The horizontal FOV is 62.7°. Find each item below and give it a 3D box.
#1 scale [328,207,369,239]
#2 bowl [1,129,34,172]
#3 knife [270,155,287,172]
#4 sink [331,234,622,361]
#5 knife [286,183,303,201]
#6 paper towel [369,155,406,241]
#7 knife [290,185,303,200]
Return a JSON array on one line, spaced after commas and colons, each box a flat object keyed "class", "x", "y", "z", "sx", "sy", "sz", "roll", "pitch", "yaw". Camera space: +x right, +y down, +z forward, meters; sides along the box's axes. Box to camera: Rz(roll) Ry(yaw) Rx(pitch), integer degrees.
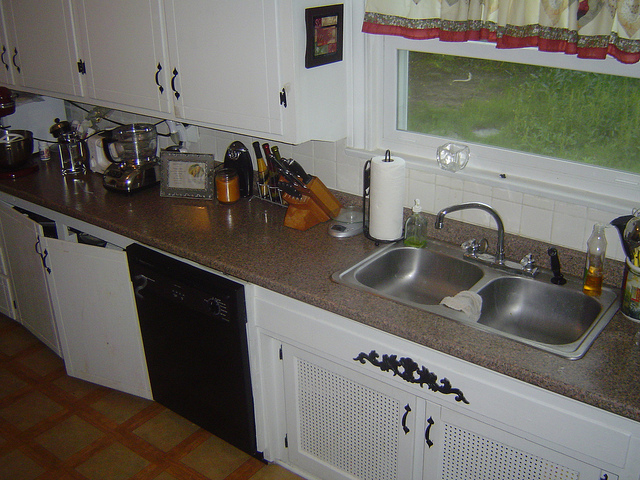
[{"class": "scale", "x": 0.126, "y": -0.082, "z": 2.546, "sx": 0.166, "sy": 0.086, "sz": 0.187, "roll": 1, "pitch": 27, "yaw": 5}, {"class": "bowl", "x": -1.859, "y": -0.546, "z": 3.266, "sx": 0.203, "sy": 0.158, "sz": 0.227, "roll": 30, "pitch": 44, "yaw": 35}, {"class": "knife", "x": -0.206, "y": -0.381, "z": 2.604, "sx": 0.034, "sy": 0.040, "sz": 0.156, "roll": -14, "pitch": 30, "yaw": -23}, {"class": "sink", "x": 0.626, "y": 0.260, "z": 2.163, "sx": 1.047, "sy": 0.273, "sz": 0.523, "roll": 14, "pitch": 31, "yaw": 28}, {"class": "knife", "x": -0.123, "y": -0.236, "z": 2.533, "sx": 0.135, "sy": 0.037, "sz": 0.035, "roll": 47, "pitch": 21, "yaw": 27}, {"class": "paper towel", "x": 0.305, "y": -0.177, "z": 2.390, "sx": 0.150, "sy": 0.354, "sz": 0.108, "roll": 0, "pitch": 25, "yaw": 5}, {"class": "knife", "x": -0.111, "y": -0.226, "z": 2.530, "sx": 0.108, "sy": 0.025, "sz": 0.026, "roll": 51, "pitch": 20, "yaw": 16}]
